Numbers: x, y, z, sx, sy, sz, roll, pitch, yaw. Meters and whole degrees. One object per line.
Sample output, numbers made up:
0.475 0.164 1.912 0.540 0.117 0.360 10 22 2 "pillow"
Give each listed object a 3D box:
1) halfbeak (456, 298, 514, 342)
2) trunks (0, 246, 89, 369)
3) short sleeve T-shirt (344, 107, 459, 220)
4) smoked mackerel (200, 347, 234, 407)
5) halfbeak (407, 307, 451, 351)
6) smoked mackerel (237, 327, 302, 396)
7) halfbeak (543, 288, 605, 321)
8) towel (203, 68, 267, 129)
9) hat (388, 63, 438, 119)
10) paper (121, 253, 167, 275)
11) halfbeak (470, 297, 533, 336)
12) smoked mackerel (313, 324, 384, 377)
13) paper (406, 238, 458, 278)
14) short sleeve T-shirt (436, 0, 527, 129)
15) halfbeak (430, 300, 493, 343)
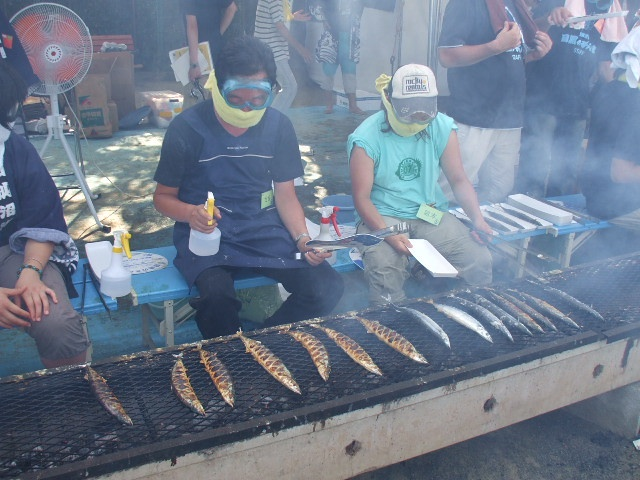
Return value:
0.976 0.470 3.106 0.105 0.096 0.520 -18 31 -20 "halfbeak"
-1.651 0.384 3.026 0.217 0.306 0.851 -20 74 -36 "trunks"
0.701 -0.612 4.098 0.910 0.913 0.540 -8 35 -9 "short sleeve T-shirt"
-0.535 0.659 2.590 0.065 0.095 0.453 -28 32 -4 "smoked mackerel"
0.613 0.510 3.032 0.086 0.076 0.496 3 15 -27 "halfbeak"
-0.319 0.645 2.738 0.116 0.127 0.672 -32 35 -21 "smoked mackerel"
1.638 0.424 3.235 0.071 0.040 0.270 -1 25 -36 "halfbeak"
-0.600 -0.970 3.443 0.357 0.175 0.410 -10 54 -40 "towel"
0.713 -1.122 3.754 0.283 0.232 0.450 -4 51 2 "hat"
-1.290 0.168 3.717 0.199 0.003 0.206 -15 28 -40 "paper"
1.122 0.457 3.151 0.089 0.112 0.452 -16 40 -33 "halfbeak"
0.145 0.591 2.884 0.110 0.099 0.625 -28 37 -17 "smoked mackerel"
0.823 0.135 3.708 0.239 0.055 0.382 -15 55 -38 "paper"
1.563 -1.677 4.748 0.932 1.111 0.576 -35 44 -27 "short sleeve T-shirt"
0.828 0.486 3.104 0.099 0.105 0.568 -31 36 -22 "halfbeak"
